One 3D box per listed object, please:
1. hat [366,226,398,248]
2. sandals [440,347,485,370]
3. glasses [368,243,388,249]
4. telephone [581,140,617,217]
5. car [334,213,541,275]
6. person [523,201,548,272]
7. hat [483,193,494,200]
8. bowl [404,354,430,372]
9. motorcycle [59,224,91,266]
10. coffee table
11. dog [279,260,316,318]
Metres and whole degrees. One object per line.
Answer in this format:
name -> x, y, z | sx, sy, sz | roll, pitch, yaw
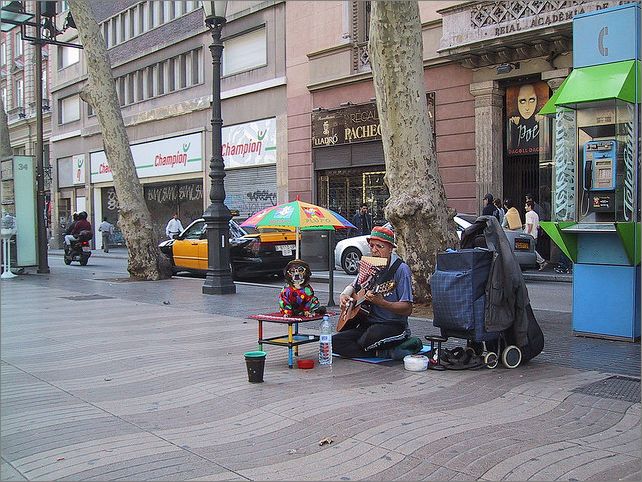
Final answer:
hat -> 0.758, -0.049, 8.186 | 0.285, 0.163, 0.244 | 25, -13, -23
sandals -> 1.672, 1.416, 7.894 | 0.337, 0.136, 0.282 | -4, 10, -7
glasses -> 0.674, 0.065, 8.144 | 0.232, 0.067, 0.089 | 4, 7, 40
telephone -> 4.032, -0.909, 9.566 | 0.451, 1.047, 0.202 | 2, 6, 28
car -> 2.843, 0.231, 17.611 | 4.948, 1.839, 2.248 | 2, 1, 18
person -> 5.685, -0.120, 17.578 | 0.499, 1.919, 0.583 | -5, 7, -41
hat -> 4.503, -1.177, 17.957 | 0.304, 0.191, 0.234 | 8, 7, 44
bowl -> 1.147, 1.461, 7.964 | 0.292, 0.142, 0.298 | -1, 5, 0
motorcycle -> -9.370, 0.262, 25.259 | 0.840, 1.199, 1.641 | 0, 3, -23
coffee table -> -0.356, 1.221, 8.559 | 0.927, 0.730, 0.959 | 0, 0, -14
dog -> -0.277, 0.608, 8.515 | 0.501, 0.699, 0.345 | -2, 5, -13
